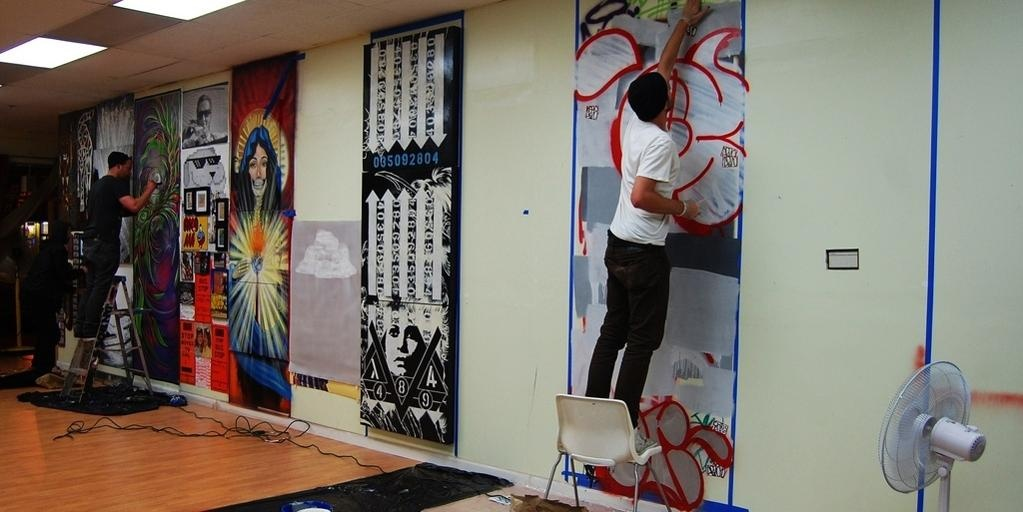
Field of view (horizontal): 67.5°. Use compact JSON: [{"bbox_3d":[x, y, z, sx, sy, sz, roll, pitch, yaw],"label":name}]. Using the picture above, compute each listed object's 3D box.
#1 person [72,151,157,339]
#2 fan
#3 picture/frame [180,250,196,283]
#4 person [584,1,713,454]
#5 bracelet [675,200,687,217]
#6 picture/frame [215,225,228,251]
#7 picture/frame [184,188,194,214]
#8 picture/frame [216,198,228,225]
[{"bbox_3d":[-5.545,-0.175,10.630,1.131,2.487,0.943,-10,16,-38],"label":"person"},{"bbox_3d":[3.433,1.518,6.303,0.865,1.242,0.291,-3,13,-14],"label":"fan"},{"bbox_3d":[-4.375,0.143,10.359,0.313,0.415,0.083,9,15,35],"label":"picture/frame"},{"bbox_3d":[1.318,-0.326,7.322,0.741,3.659,1.181,8,15,33],"label":"person"},{"bbox_3d":[1.615,-0.457,7.211,0.073,0.139,0.214,3,13,13],"label":"bracelet"},{"bbox_3d":[-3.776,-0.251,10.018,0.199,0.334,0.051,6,14,25],"label":"picture/frame"},{"bbox_3d":[-4.335,-0.760,10.324,0.210,0.312,0.066,10,16,39],"label":"picture/frame"},{"bbox_3d":[-3.777,-0.619,10.012,0.237,0.301,0.080,8,15,34],"label":"picture/frame"}]
